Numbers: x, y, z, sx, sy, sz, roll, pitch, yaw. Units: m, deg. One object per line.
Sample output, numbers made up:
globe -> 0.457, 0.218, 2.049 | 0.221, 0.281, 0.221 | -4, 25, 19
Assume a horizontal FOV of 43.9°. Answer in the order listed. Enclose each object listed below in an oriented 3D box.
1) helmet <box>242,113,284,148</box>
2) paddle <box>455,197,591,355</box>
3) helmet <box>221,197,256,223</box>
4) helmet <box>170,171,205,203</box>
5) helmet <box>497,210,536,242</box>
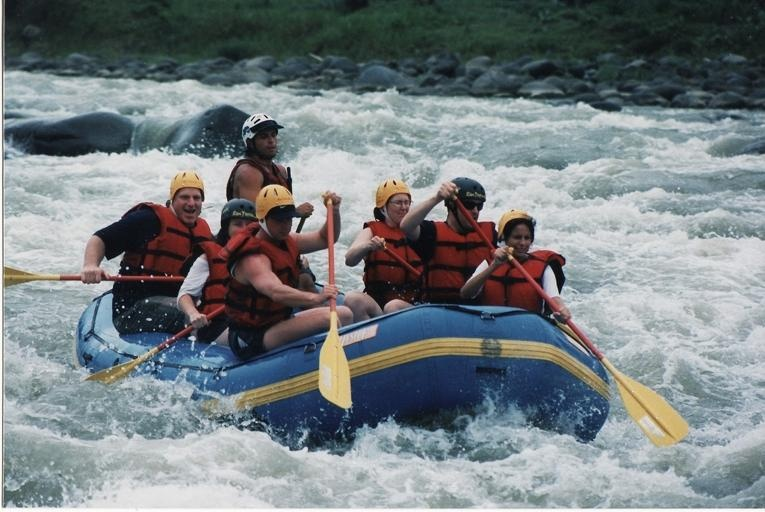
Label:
helmet -> -1.399, -1.445, 10.917 | 0.401, 0.382, 0.392 | -1, 14, -6
paddle -> 1.553, 0.271, 10.425 | 2.733, 0.157, 0.197 | 42, 20, 18
helmet -> -1.565, -0.494, 10.324 | 0.332, 0.251, 0.237 | -14, -7, 2
helmet -> -2.210, -0.794, 10.681 | 0.326, 0.408, 0.313 | 2, 46, -16
helmet -> 1.402, -0.353, 10.021 | 0.292, 0.365, 0.282 | 4, 52, -3
